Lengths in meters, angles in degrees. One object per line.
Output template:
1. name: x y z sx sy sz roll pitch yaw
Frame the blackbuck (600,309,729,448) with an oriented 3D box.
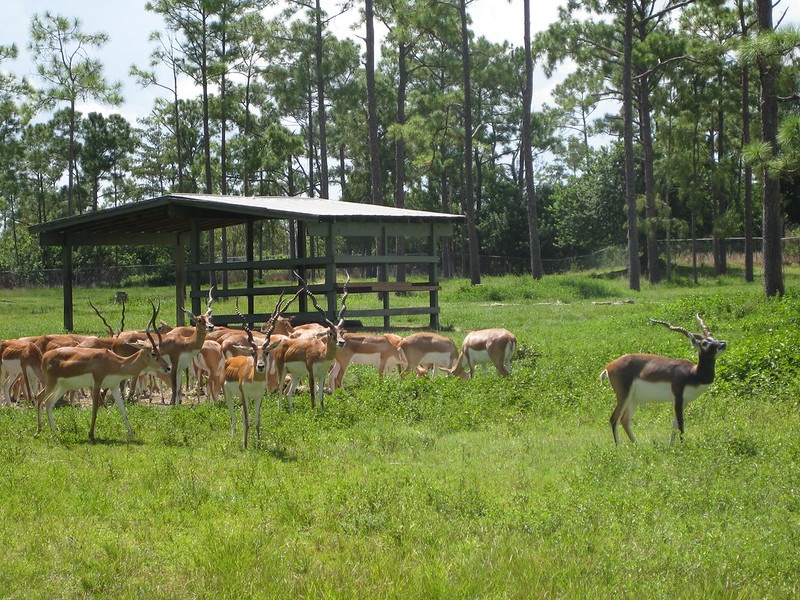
1. blackbuck: 6.462 1.850 29.810 2.876 4.044 2.011 1 13 21

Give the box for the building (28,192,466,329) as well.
1. building: -4.800 -1.424 42.350 11.805 3.920 12.075 0 1 45
